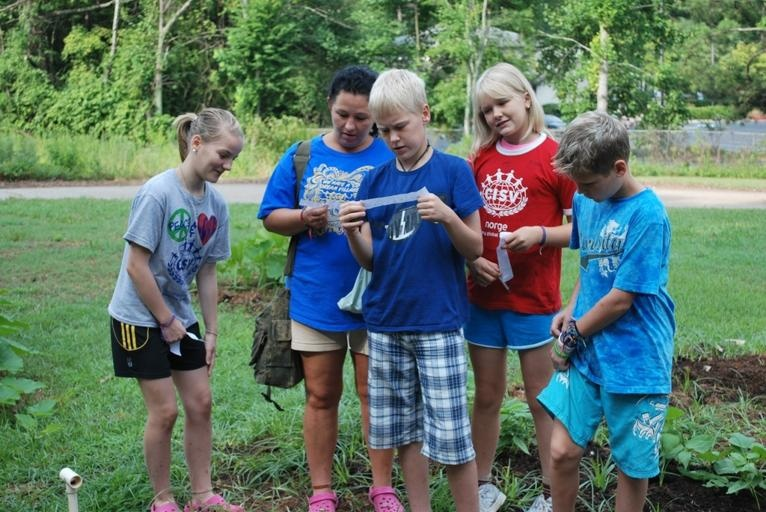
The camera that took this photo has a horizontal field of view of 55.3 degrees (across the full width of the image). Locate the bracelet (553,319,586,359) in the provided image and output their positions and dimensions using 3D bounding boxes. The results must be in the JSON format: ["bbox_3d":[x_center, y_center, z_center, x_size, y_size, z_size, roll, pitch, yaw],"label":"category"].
[{"bbox_3d":[1.320,0.606,5.221,0.128,0.260,0.193,30,20,-26],"label":"bracelet"}]

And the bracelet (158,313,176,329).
[{"bbox_3d":[-1.590,0.475,5.420,0.081,0.100,0.039,-12,-32,5],"label":"bracelet"}]

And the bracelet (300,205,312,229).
[{"bbox_3d":[-0.591,-0.279,5.526,0.053,0.138,0.103,-1,3,11],"label":"bracelet"}]
